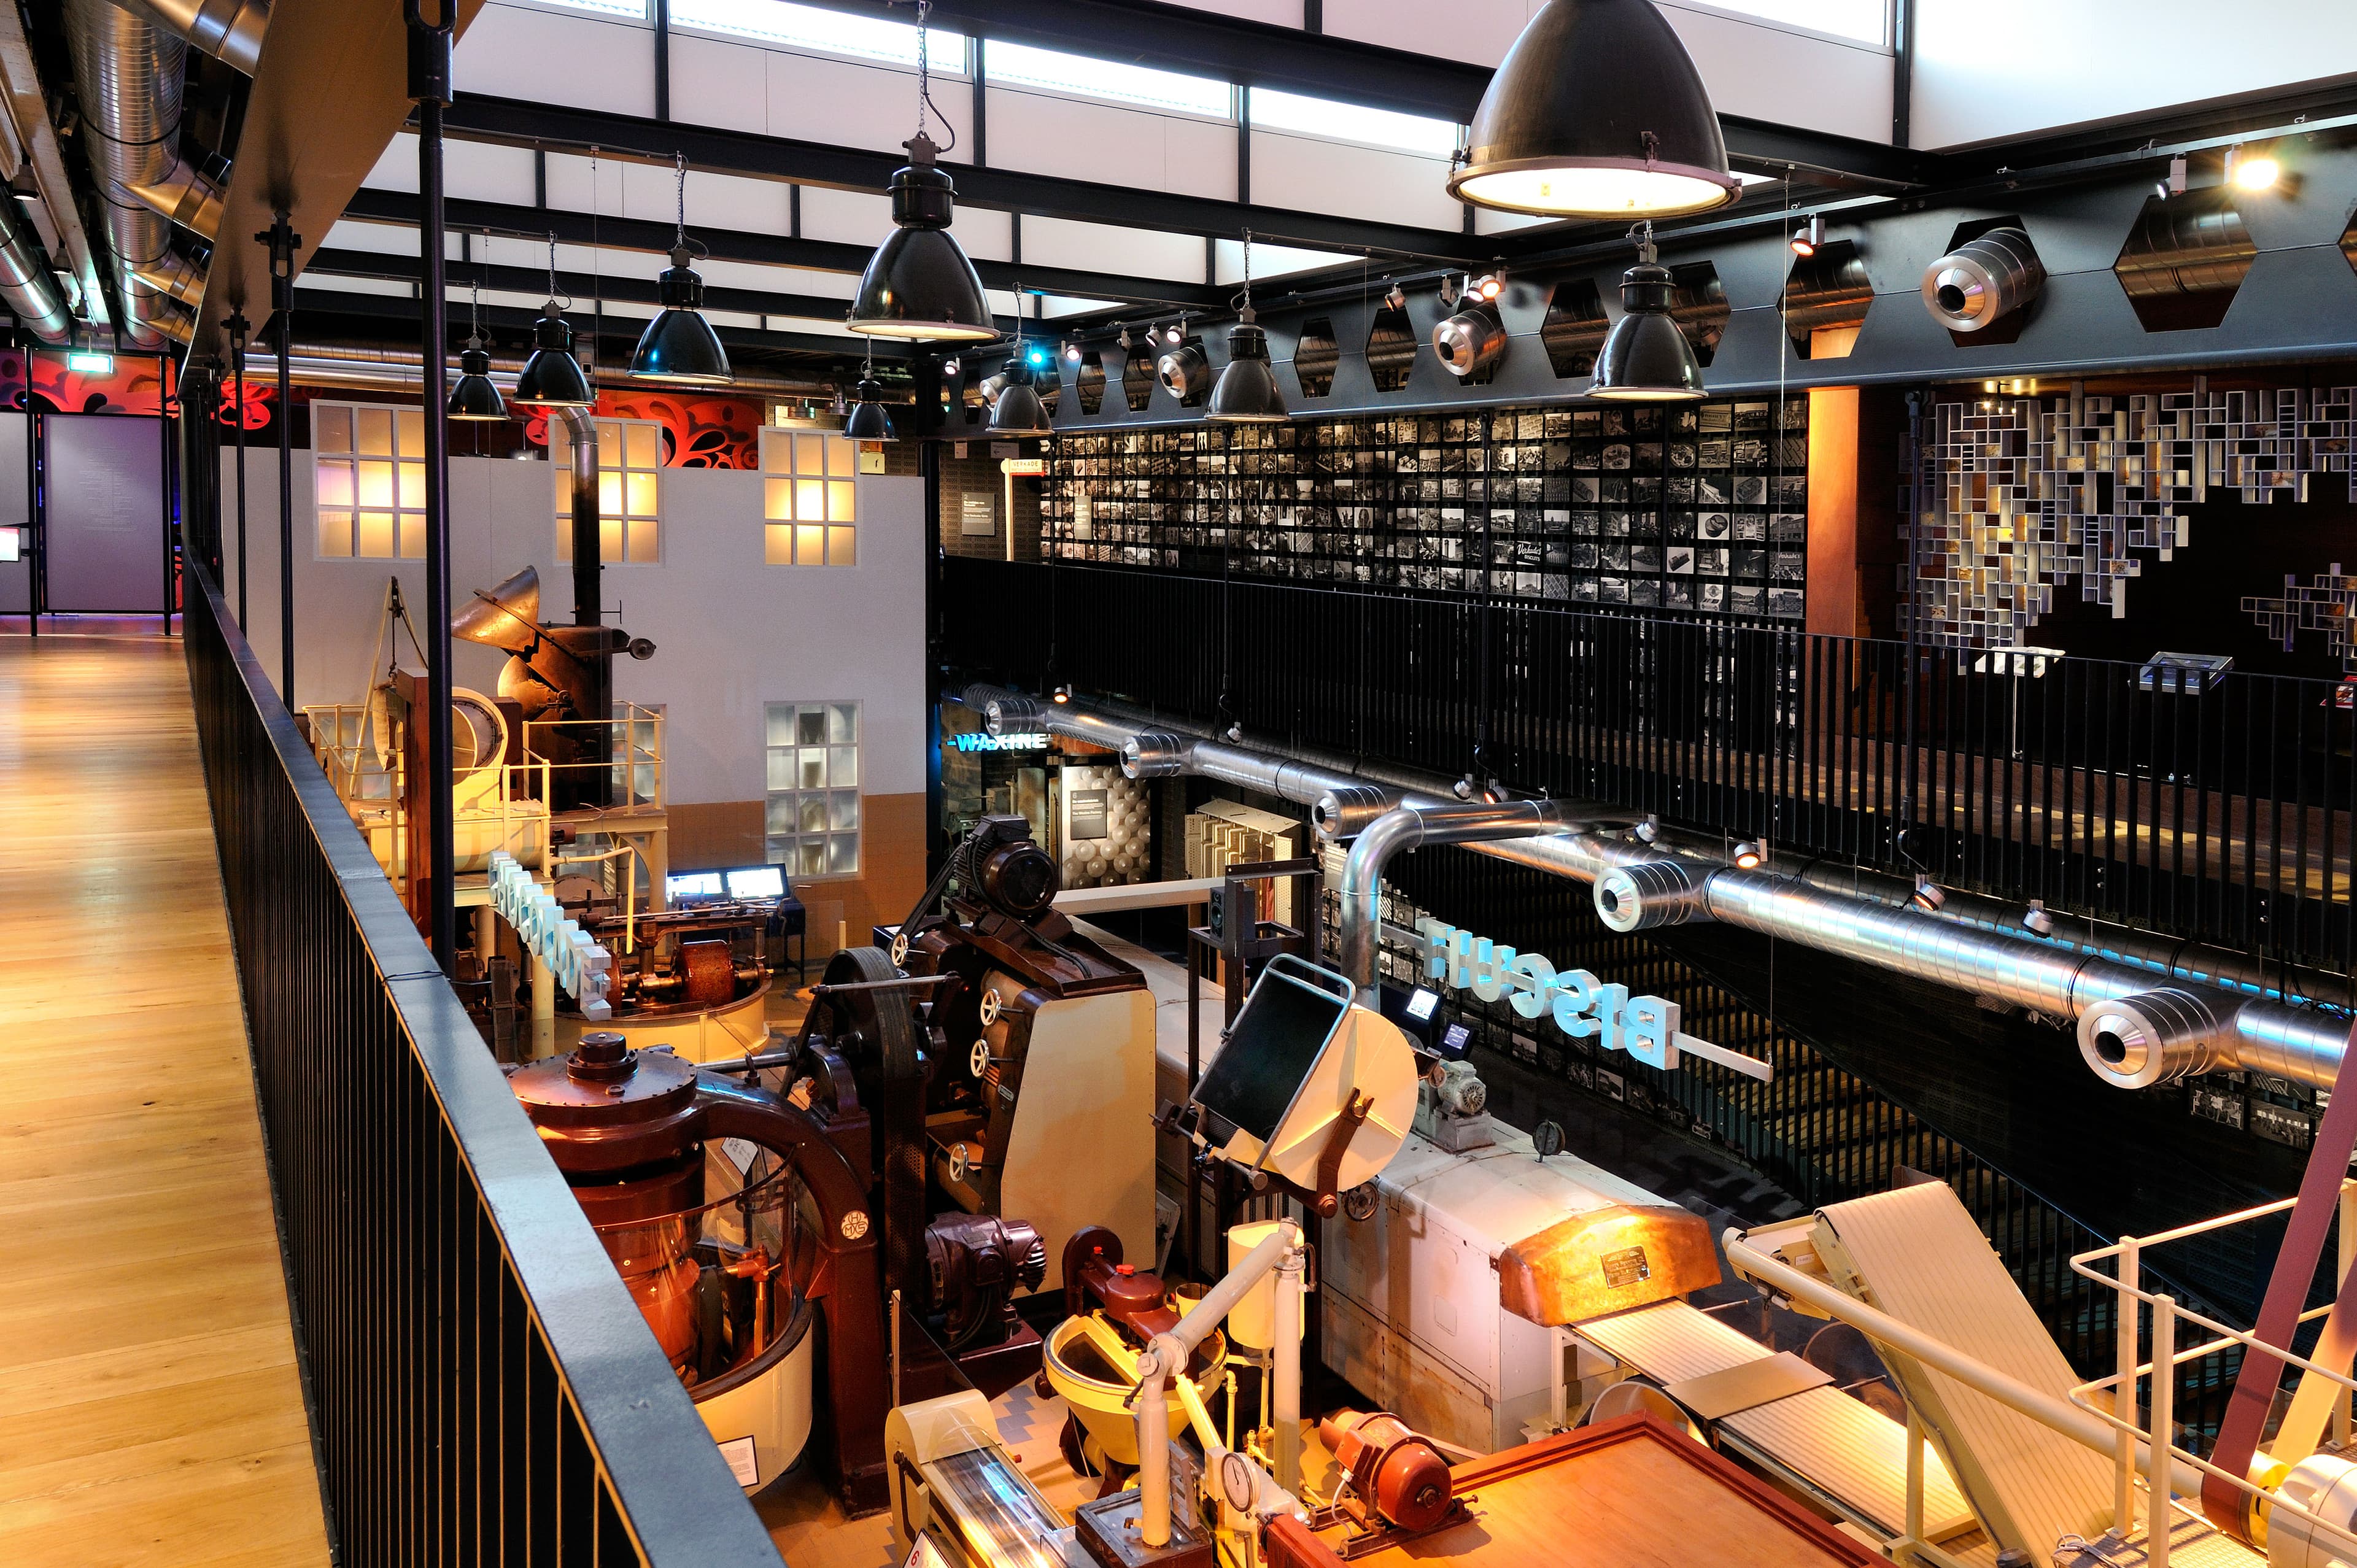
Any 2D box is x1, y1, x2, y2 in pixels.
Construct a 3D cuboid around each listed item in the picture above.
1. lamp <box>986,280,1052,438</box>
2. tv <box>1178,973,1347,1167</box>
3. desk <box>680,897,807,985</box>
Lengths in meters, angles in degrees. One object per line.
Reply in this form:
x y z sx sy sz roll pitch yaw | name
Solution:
-1.440 -3.537 15.524 0.460 0.845 0.952 -1 10 -7 | lamp
0.454 1.366 8.449 0.511 0.803 0.745 -4 11 -24 | tv
-4.470 1.628 18.819 1.333 1.209 0.874 -1 1 -35 | desk
